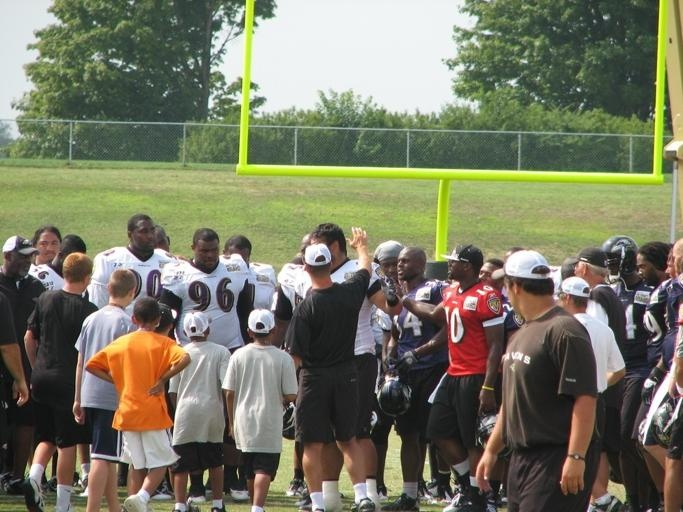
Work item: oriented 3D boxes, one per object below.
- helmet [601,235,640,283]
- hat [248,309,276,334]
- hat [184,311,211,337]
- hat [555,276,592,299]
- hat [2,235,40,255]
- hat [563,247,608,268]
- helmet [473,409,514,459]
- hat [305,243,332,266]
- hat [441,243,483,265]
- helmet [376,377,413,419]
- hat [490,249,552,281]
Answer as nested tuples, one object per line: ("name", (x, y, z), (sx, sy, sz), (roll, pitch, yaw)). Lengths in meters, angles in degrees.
("helmet", (2.845, 0.041, 13.411), (0.418, 0.450, 0.352), (-8, -7, -13))
("hat", (-0.771, 0.643, 12.769), (0.232, 0.233, 0.170), (-1, 0, 0))
("hat", (-1.422, 0.698, 12.932), (0.179, 0.155, 0.269), (-6, 26, 1))
("hat", (2.158, 0.300, 12.226), (0.255, 0.201, 0.208), (-1, 0, 6))
("hat", (-3.244, -0.098, 13.327), (0.285, 0.163, 0.196), (-2, -1, 2))
("hat", (2.484, 0.018, 13.071), (0.278, 0.169, 0.201), (7, -2, 9))
("helmet", (1.434, 1.727, 12.530), (0.292, 0.427, 0.472), (-1, 0, 3))
("hat", (-0.231, -0.005, 12.674), (0.251, 0.218, 0.210), (-1, 0, -1))
("hat", (1.223, -0.005, 12.928), (0.265, 0.150, 0.198), (3, -2, 4))
("helmet", (0.539, 1.397, 13.240), (0.345, 0.367, 0.408), (4, 42, 13))
("hat", (1.587, 0.090, 11.400), (0.355, 0.215, 0.268), (5, 4, 25))
